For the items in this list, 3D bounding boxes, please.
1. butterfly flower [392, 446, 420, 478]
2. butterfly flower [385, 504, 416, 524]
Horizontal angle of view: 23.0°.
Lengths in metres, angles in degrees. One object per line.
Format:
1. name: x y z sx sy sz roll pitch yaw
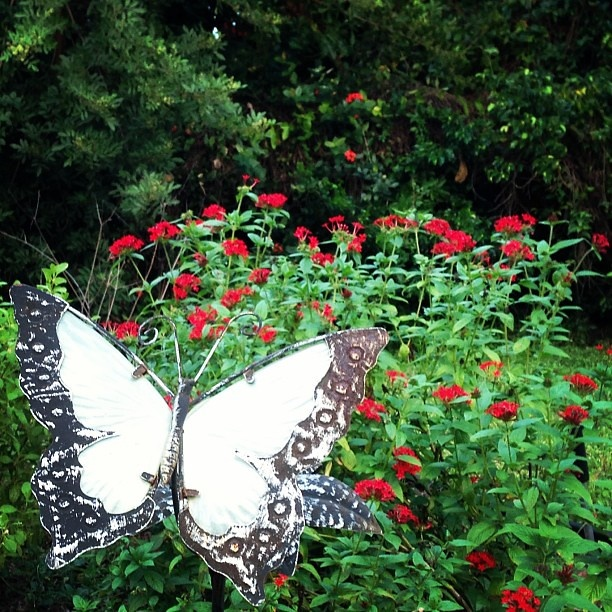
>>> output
1. butterfly flower: 0.510 0.789 7.394 0.136 0.164 0.261 -3 -20 12
2. butterfly flower: 0.461 1.000 7.252 0.095 0.083 0.099 26 -7 -14
